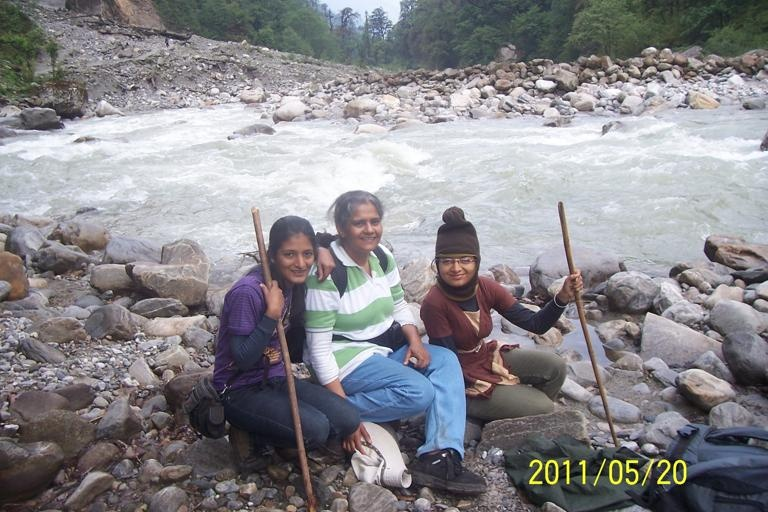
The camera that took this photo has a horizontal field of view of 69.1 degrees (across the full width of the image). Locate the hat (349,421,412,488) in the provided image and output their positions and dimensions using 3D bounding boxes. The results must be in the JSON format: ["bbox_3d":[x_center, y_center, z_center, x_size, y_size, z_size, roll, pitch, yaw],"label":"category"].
[{"bbox_3d":[-0.039,1.633,4.581,0.458,0.321,0.494,-3,24,-4],"label":"hat"}]

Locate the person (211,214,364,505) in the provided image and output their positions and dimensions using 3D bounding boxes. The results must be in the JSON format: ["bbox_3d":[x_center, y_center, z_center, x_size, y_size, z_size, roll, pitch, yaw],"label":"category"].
[{"bbox_3d":[-0.838,0.703,4.443,1.047,2.019,1.055,-13,28,-23],"label":"person"}]
